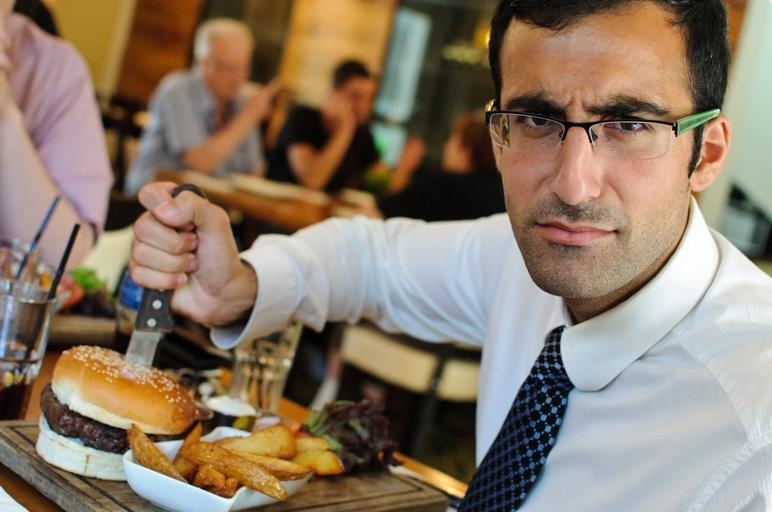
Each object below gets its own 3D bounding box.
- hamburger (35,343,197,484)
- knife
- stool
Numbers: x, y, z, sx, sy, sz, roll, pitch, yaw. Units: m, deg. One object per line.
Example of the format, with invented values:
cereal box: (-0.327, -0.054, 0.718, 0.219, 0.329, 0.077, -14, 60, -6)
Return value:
hamburger: (-0.569, 0.346, 1.524, 0.271, 0.186, 0.291, 26, 1, 23)
knife: (-0.542, 0.135, 1.572, 0.102, 0.632, 0.061, 11, -4, -6)
stool: (0.169, 0.526, 3.443, 0.595, 0.749, 0.697, -12, 22, -35)
